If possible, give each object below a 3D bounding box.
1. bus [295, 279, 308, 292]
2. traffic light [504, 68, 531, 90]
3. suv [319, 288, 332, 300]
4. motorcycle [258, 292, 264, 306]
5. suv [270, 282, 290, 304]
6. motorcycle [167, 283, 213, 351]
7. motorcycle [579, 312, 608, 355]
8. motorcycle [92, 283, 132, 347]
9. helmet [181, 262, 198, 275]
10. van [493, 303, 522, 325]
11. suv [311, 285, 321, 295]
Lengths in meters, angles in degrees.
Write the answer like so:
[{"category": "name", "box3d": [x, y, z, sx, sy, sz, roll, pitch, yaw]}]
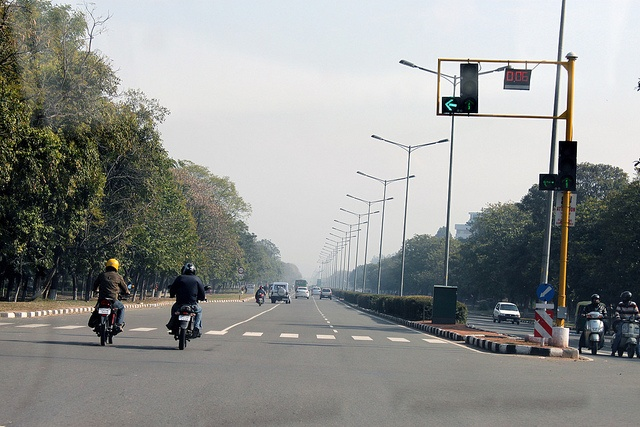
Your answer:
[{"category": "bus", "box3d": [-3.042, 11.556, 124.013, 1.863, 1.537, 2.585, 2, 5, 11]}, {"category": "traffic light", "box3d": [7.423, -5.080, 29.556, 0.921, 0.975, 0.710, 1, -10, 12]}, {"category": "suv", "box3d": [0.821, 11.410, 111.354, 1.744, 1.445, 3.102, 1, -8, -1]}, {"category": "motorcycle", "box3d": [-4.828, 6.980, 64.084, 0.389, 1.090, 1.161, 1, -10, 11]}, {"category": "suv", "box3d": [-3.774, 7.663, 76.811, 1.325, 1.263, 2.354, 1, 2, 4]}, {"category": "motorcycle", "box3d": [-4.326, 3.622, 25.355, 0.798, 1.502, 1.218, 4, -9, -3]}, {"category": "motorcycle", "box3d": [10.815, 4.745, 31.261, 0.919, 1.683, 1.272, 0, -10, 18]}, {"category": "motorcycle", "box3d": [-6.911, 3.528, 25.577, 0.697, 1.523, 1.164, 3, -9, 2]}, {"category": "helmet", "box3d": [-4.283, 1.801, 25.822, 0.346, 0.444, 0.433, 2, 2, -16]}, {"category": "van", "box3d": [14.884, 7.903, 62.702, 1.827, 1.840, 4.073, 1, -10, 12]}, {"category": "suv", "box3d": [-0.547, 12.254, 122.878, 1.241, 1.130, 2.304, 2, 4, 4]}]
